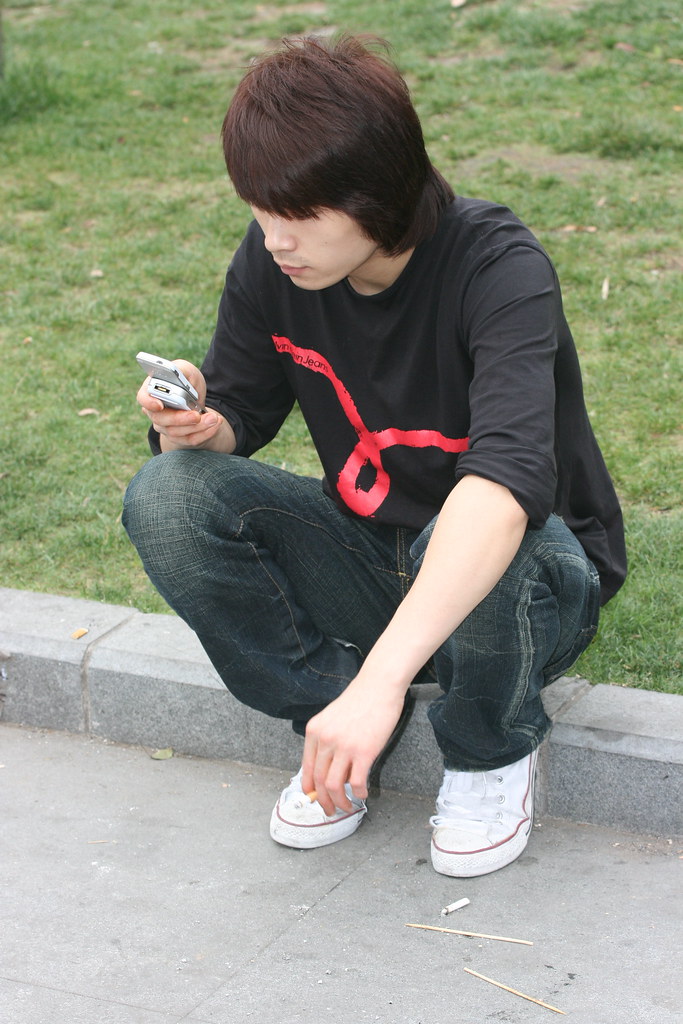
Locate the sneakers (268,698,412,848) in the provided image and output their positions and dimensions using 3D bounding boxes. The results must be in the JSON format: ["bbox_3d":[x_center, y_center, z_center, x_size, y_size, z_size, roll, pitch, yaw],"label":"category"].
[{"bbox_3d":[-0.012,0.508,2.115,0.101,0.102,0.282,21,23,16],"label":"sneakers"}]

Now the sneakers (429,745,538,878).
[{"bbox_3d":[0.250,0.507,1.993,0.158,0.127,0.398,-7,8,19],"label":"sneakers"}]
